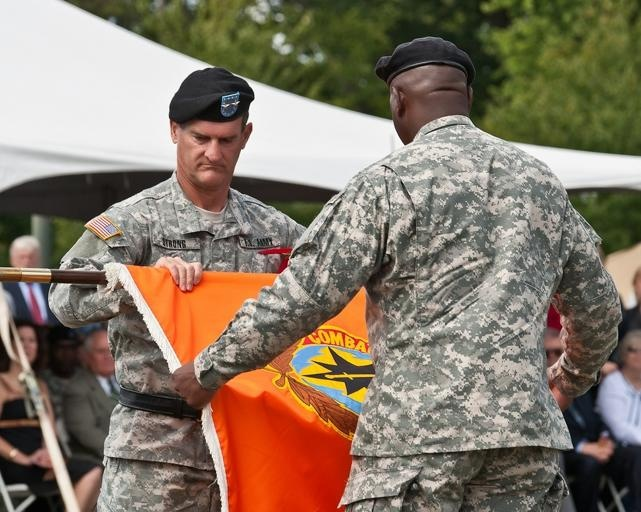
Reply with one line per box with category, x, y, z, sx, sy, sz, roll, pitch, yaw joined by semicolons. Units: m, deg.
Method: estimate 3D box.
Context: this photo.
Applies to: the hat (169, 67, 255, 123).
hat;-0.619;-0.889;7.536;0.407;0.173;0.319;-1;4;-14
